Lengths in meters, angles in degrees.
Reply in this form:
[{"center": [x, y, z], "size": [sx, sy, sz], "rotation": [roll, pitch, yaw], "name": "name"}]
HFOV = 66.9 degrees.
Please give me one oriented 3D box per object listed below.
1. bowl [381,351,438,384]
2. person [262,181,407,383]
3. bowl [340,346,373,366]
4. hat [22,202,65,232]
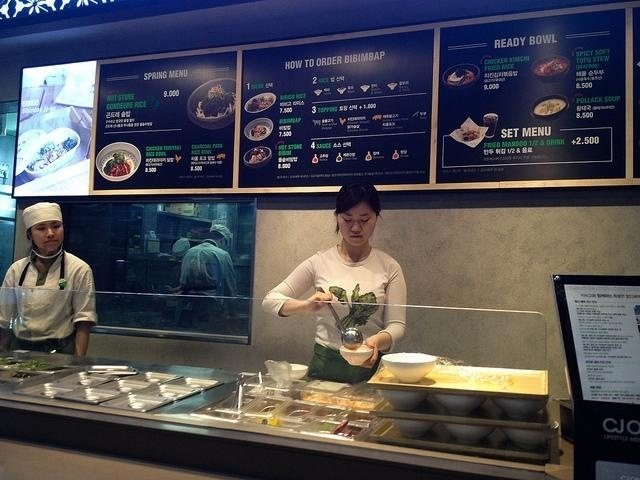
[{"center": [0.302, 0.426, 1.637], "size": [0.177, 0.072, 0.163], "rotation": [0, 2, 0], "name": "bowl"}, {"center": [0.064, 0.102, 2.277], "size": [0.674, 0.810, 1.114], "rotation": [0, 2, 9], "name": "person"}, {"center": [0.133, 0.416, 1.778], "size": [0.084, 0.040, 0.080], "rotation": [0, -4, 0], "name": "bowl"}, {"center": [-1.777, -0.142, 3.092], "size": [0.210, 0.119, 0.186], "rotation": [-6, 0, 14], "name": "hat"}]
